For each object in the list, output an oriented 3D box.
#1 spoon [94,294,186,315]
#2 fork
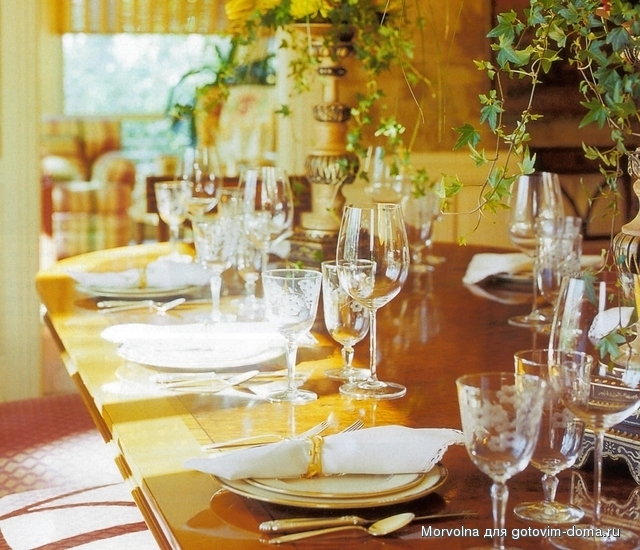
[{"bbox_3d":[-0.346,0.058,1.387,0.184,0.027,0.029,-2,-10,2],"label":"spoon"},{"bbox_3d":[-0.039,0.175,0.779,0.210,0.022,0.022,-1,44,-38],"label":"fork"}]
